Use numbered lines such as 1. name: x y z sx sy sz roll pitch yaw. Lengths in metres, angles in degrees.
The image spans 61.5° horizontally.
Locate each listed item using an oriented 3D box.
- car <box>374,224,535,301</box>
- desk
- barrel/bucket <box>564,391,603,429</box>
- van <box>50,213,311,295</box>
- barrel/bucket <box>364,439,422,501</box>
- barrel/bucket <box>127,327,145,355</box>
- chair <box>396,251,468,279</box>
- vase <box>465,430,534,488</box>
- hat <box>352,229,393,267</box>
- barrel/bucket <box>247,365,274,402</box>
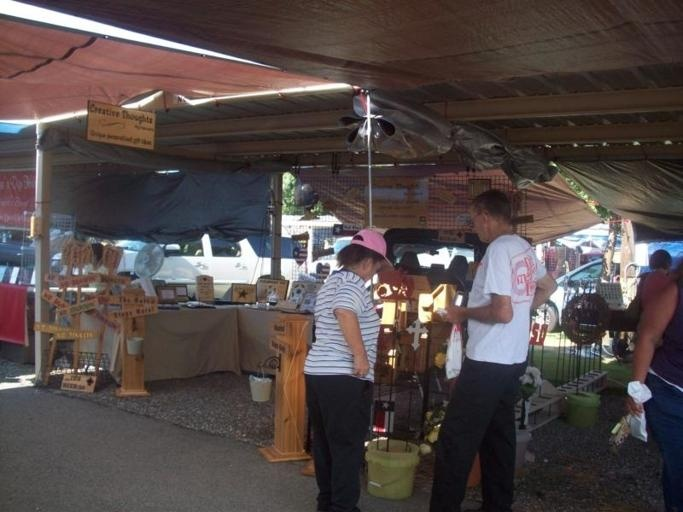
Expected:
1. car: 1.450 0.139 8.465 1.641 0.910 1.178 -1 3 13
2. desk: -1.882 1.227 8.081 1.716 0.989 0.475 1 4 -21
3. barrel/bucket: 2.895 1.824 6.858 0.356 0.314 0.365 2 0 0
4. van: -2.343 0.097 12.203 3.610 1.616 1.921 4 -4 -35
5. barrel/bucket: 0.387 1.775 4.789 0.478 0.357 0.460 3 -6 0
6. barrel/bucket: -2.570 1.071 7.127 0.303 0.293 0.247 1 -2 14
7. chair: 1.312 0.162 8.298 0.602 0.326 0.625 10 -6 -34
8. vase: 1.489 1.824 5.195 0.485 0.533 0.611 -11 -22 37
9. hat: 0.275 -0.100 4.371 0.337 0.181 0.222 32 -14 -29
10. barrel/bucket: -1.013 1.621 7.318 0.377 0.431 0.333 1 -3 25
